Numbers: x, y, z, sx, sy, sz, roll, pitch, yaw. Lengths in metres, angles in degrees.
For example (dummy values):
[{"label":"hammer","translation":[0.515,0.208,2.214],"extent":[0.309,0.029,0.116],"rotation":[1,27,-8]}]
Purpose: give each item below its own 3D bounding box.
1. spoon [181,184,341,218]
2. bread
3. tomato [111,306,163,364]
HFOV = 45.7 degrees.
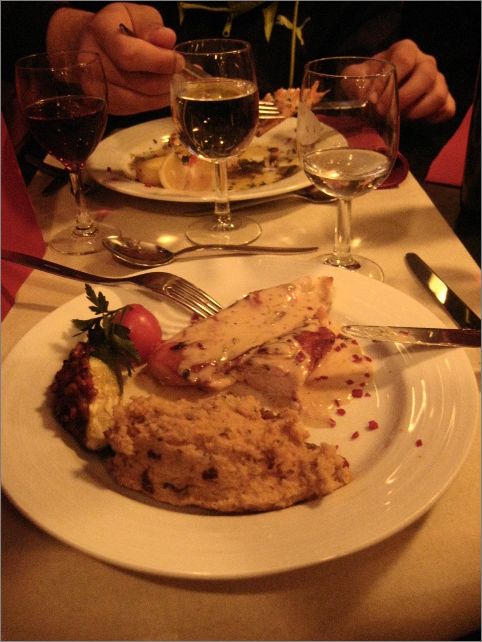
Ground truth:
[{"label":"spoon","translation":[0.066,-0.373,1.789],"extent":[0.468,0.062,0.088],"rotation":[-12,15,3]},{"label":"bread","translation":[-0.025,0.217,0.913],"extent":[0.288,0.079,0.201],"rotation":[4,16,-19]},{"label":"tomato","translation":[-0.233,0.020,1.273],"extent":[0.110,0.119,0.104],"rotation":[2,29,27]}]
